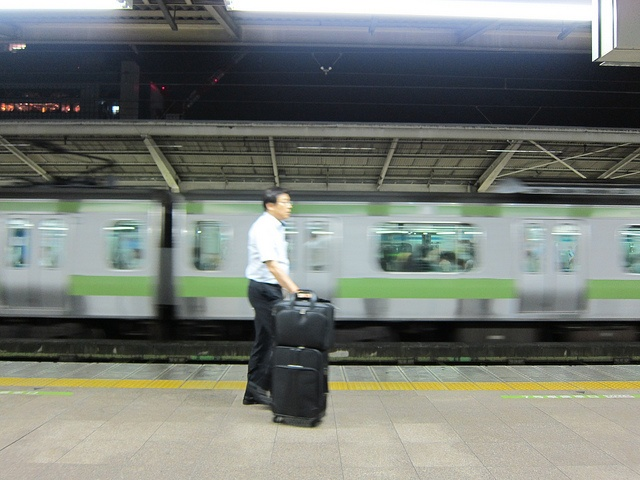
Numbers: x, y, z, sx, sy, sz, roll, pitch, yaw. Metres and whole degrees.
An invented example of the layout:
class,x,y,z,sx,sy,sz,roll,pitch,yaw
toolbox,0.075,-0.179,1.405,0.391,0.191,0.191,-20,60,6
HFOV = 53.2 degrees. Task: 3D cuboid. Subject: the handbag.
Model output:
class,x,y,z,sx,sy,sz,roll,pitch,yaw
handbag,-0.256,1.129,8.784,1.216,0.917,0.655,0,-4,6
